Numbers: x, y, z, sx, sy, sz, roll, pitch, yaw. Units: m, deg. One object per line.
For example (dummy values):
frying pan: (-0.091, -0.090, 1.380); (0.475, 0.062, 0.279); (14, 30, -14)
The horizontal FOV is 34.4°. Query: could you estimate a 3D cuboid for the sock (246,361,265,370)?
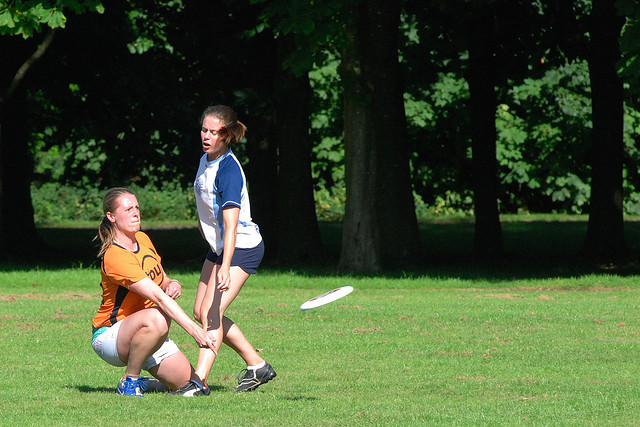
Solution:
sock: (-0.978, 2.393, 16.177); (0.280, 0.123, 0.097); (-17, 14, 7)
